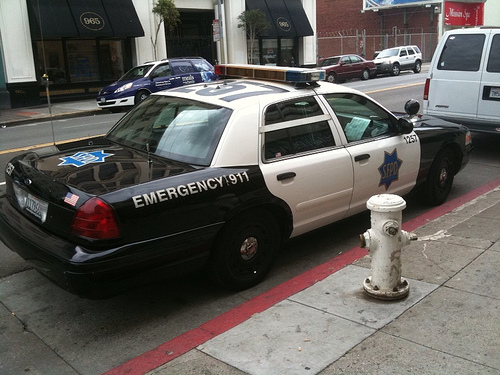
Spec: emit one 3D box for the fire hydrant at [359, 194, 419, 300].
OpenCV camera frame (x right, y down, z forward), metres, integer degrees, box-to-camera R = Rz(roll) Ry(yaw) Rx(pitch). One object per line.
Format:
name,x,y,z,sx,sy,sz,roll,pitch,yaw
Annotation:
fire hydrant,1.267,0.553,3.358,0.446,0.863,0.542,3,23,19

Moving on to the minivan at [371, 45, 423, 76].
minivan,13.091,-11.624,32.771,5.750,2.071,2.818,-20,26,-34

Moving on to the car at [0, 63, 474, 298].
car,0.289,-0.501,4.883,6.316,2.271,2.323,-17,24,-33
